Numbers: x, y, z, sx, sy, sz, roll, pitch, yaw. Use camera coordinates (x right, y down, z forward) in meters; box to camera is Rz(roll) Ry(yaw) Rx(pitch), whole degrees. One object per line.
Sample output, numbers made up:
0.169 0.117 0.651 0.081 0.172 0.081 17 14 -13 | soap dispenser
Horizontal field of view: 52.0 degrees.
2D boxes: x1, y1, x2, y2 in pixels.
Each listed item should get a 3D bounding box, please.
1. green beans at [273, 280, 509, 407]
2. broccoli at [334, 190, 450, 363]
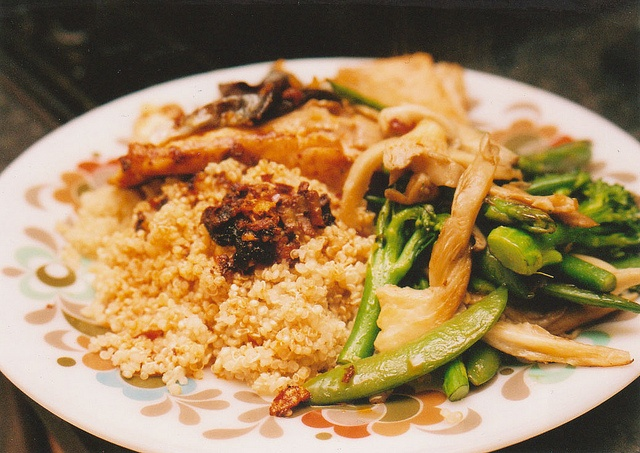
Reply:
0.399 0.526 3.291 0.968 0.591 0.460 -4 91 5 | green beans
0.343 0.214 3.322 0.367 0.249 0.925 33 74 -25 | broccoli
